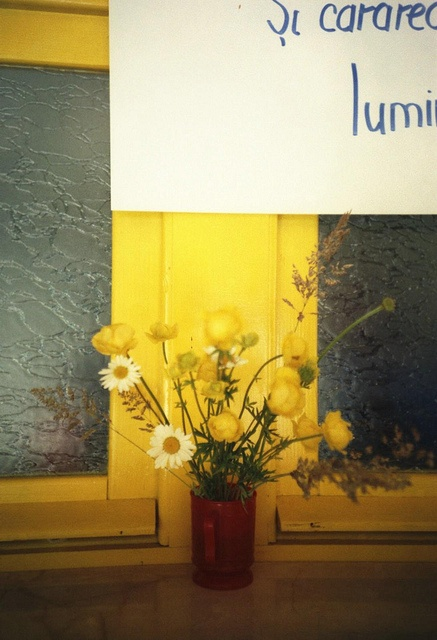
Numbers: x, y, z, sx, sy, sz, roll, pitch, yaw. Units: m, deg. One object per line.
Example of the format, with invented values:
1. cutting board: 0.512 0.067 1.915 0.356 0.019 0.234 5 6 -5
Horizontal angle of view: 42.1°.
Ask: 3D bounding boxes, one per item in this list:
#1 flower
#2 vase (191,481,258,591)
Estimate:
1. flower: 0.027 0.073 1.035 0.809 0.574 0.390 1 1 7
2. vase: 0.008 0.381 0.991 0.112 0.174 0.160 0 1 0
